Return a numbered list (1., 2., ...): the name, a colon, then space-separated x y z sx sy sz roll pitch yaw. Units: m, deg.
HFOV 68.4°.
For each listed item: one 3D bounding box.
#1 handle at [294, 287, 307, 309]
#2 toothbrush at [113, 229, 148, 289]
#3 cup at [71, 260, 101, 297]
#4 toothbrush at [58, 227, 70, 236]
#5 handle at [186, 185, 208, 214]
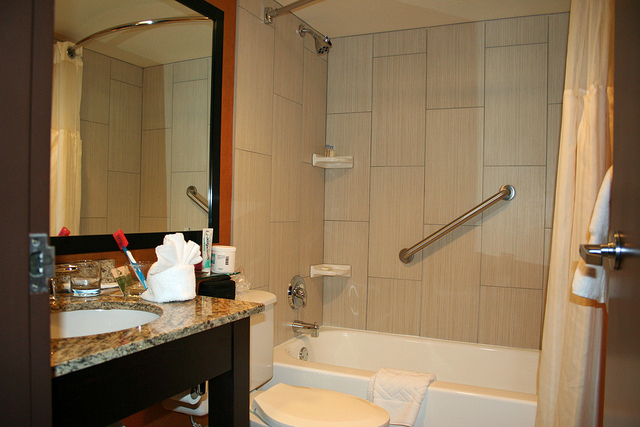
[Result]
1. handle: -0.126 0.588 3.229 0.051 0.189 0.197 3 7 13
2. toothbrush: -0.799 0.196 1.969 0.036 0.256 0.018 -21 11 29
3. cup: -0.872 0.248 1.776 0.109 0.137 0.117 2 0 0
4. toothbrush: -1.008 0.074 1.857 0.029 0.031 0.026 2 -34 -23
5. handle: -0.618 -0.069 2.369 0.015 0.138 0.135 6 8 31
